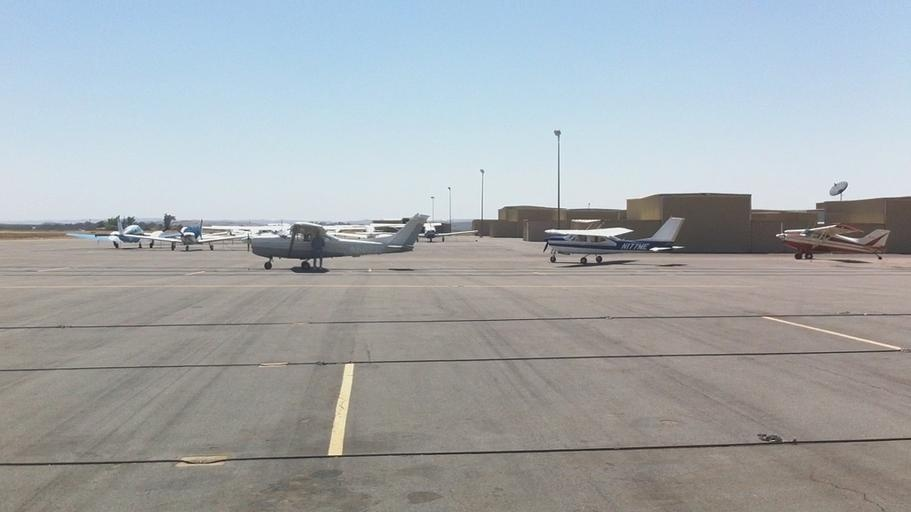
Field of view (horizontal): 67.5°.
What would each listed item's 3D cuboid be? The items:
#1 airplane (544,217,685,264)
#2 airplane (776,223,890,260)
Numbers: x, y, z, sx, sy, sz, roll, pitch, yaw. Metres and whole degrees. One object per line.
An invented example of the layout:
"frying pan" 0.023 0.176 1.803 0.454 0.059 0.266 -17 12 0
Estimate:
"airplane" 9.245 -0.827 41.554 7.204 2.922 5.246 -9 15 -42
"airplane" 24.135 -0.884 44.731 6.952 1.722 6.517 7 -5 -42
